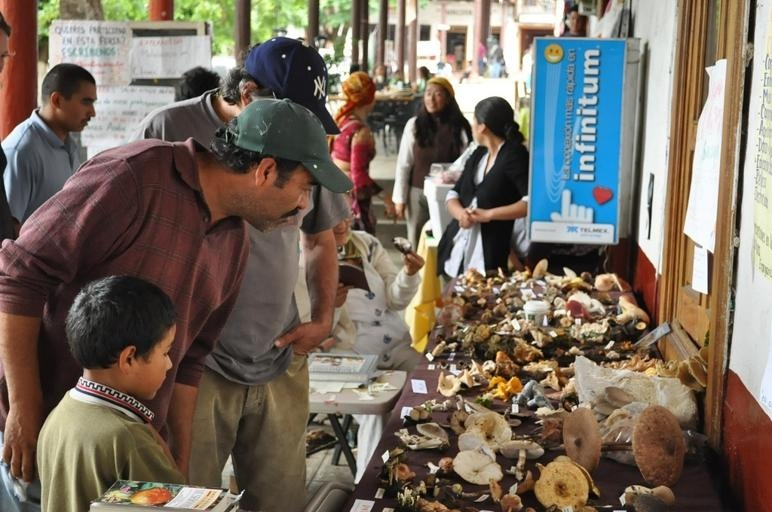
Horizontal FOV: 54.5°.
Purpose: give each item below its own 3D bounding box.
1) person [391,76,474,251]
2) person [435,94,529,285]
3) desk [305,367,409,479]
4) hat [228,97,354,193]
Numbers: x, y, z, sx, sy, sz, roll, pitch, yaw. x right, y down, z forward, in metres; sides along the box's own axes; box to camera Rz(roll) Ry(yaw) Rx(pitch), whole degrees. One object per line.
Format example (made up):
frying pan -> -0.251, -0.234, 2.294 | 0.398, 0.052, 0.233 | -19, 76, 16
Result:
person -> 0.469, -0.712, 8.004 | 0.866, 2.269, 0.688 | 1, 34, 0
person -> 0.777, -0.452, 5.651 | 0.488, 1.474, 0.974 | -6, 11, -35
desk -> -0.219, 0.899, 3.833 | 0.342, 0.408, 0.413 | 3, 3, -8
hat -> -0.302, -0.384, 2.543 | 0.418, 0.237, 0.274 | 16, 8, -6
